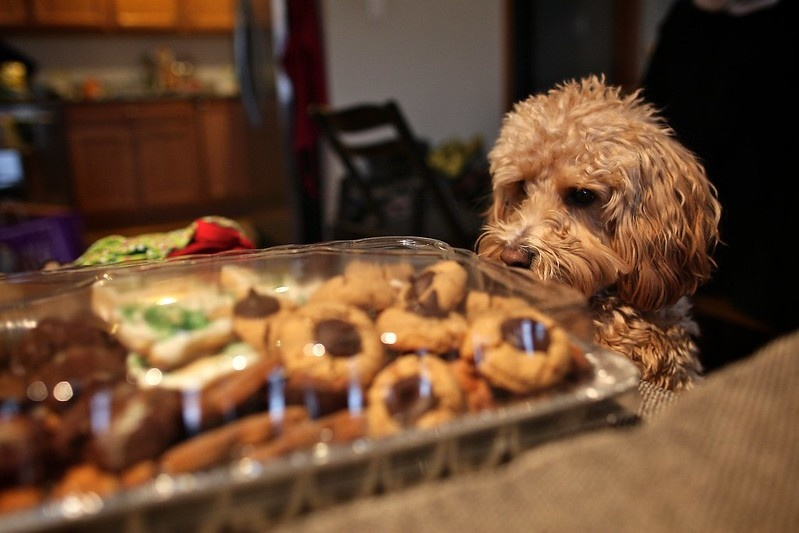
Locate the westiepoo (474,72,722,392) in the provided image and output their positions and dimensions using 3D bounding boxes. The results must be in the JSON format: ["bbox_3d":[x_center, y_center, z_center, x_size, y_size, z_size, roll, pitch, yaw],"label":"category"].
[{"bbox_3d":[0.559,-0.055,1.781,0.575,0.907,0.501,-7,19,-5],"label":"westiepoo"}]
